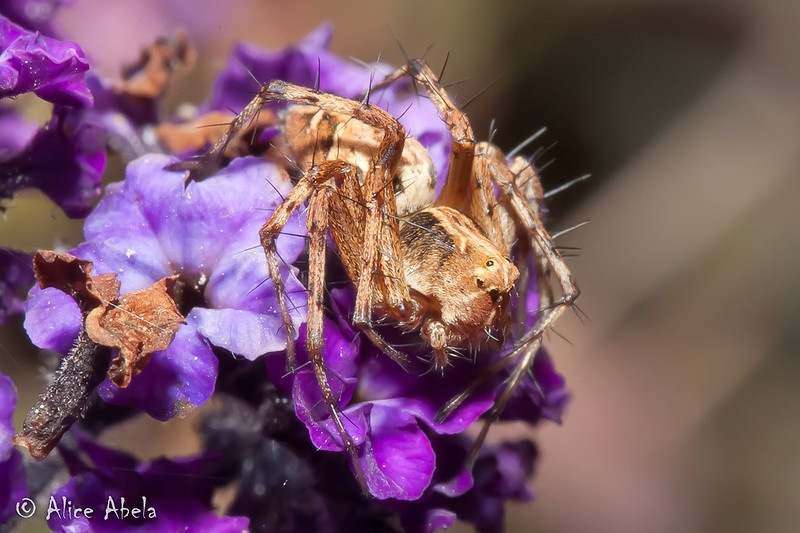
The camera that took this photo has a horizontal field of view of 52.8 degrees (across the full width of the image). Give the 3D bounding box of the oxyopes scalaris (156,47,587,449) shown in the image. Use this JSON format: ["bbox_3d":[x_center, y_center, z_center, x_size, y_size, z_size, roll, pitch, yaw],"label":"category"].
[{"bbox_3d":[-0.058,-0.045,0.860,0.312,0.175,0.436,0,54,-56],"label":"oxyopes scalaris"}]
